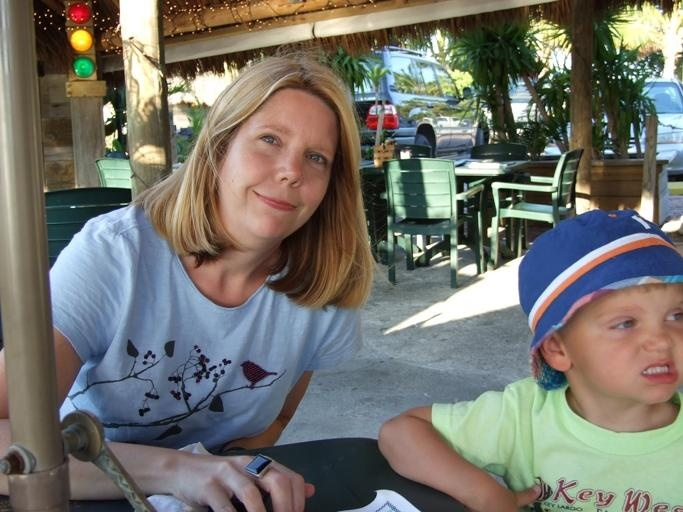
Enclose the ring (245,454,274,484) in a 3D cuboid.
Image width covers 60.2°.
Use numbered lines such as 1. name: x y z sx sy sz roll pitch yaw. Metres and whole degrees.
1. ring: -0.179 0.451 1.284 0.050 0.034 0.049 -51 -5 -6
